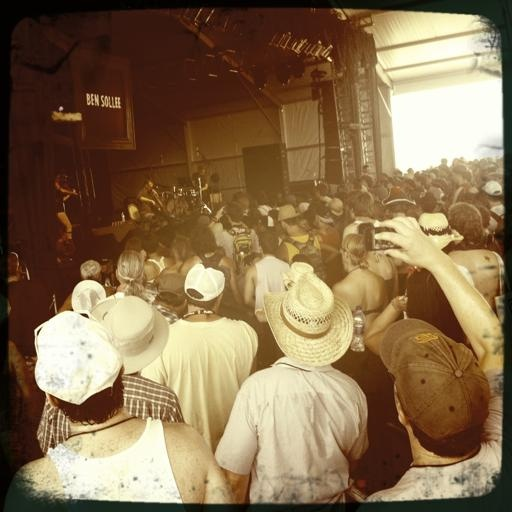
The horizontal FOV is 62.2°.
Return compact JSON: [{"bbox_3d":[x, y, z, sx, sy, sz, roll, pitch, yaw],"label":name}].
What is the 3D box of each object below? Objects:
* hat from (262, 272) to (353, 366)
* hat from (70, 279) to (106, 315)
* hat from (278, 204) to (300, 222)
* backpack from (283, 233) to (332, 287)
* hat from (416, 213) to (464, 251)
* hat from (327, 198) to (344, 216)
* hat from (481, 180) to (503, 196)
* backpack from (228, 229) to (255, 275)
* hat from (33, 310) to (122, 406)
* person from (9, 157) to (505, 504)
[{"bbox_3d":[0.285,0.342,2.372,0.498,0.587,0.302,-2,5,16],"label":"hat"},{"bbox_3d":[-0.987,0.228,2.418,0.159,0.206,0.061,3,6,0],"label":"hat"},{"bbox_3d":[0.187,-0.248,2.448,0.102,0.055,0.082,-29,33,2],"label":"hat"},{"bbox_3d":[0.285,0.012,2.478,0.252,0.310,0.211,-1,-5,-3],"label":"backpack"},{"bbox_3d":[1.042,-0.151,2.386,0.172,0.110,0.209,-10,23,1],"label":"hat"},{"bbox_3d":[0.459,-0.281,2.473,0.071,0.110,0.053,-5,-7,-30],"label":"hat"},{"bbox_3d":[1.345,-0.395,2.425,0.087,0.087,0.045,13,5,4],"label":"hat"},{"bbox_3d":[-0.069,-0.038,2.405,0.141,0.232,0.073,0,4,-9],"label":"backpack"},{"bbox_3d":[-0.960,0.540,2.181,0.376,0.502,0.120,-2,-10,0],"label":"hat"},{"bbox_3d":[0.118,0.639,2.383,2.615,1.616,0.338,-4,5,-4],"label":"person"}]
